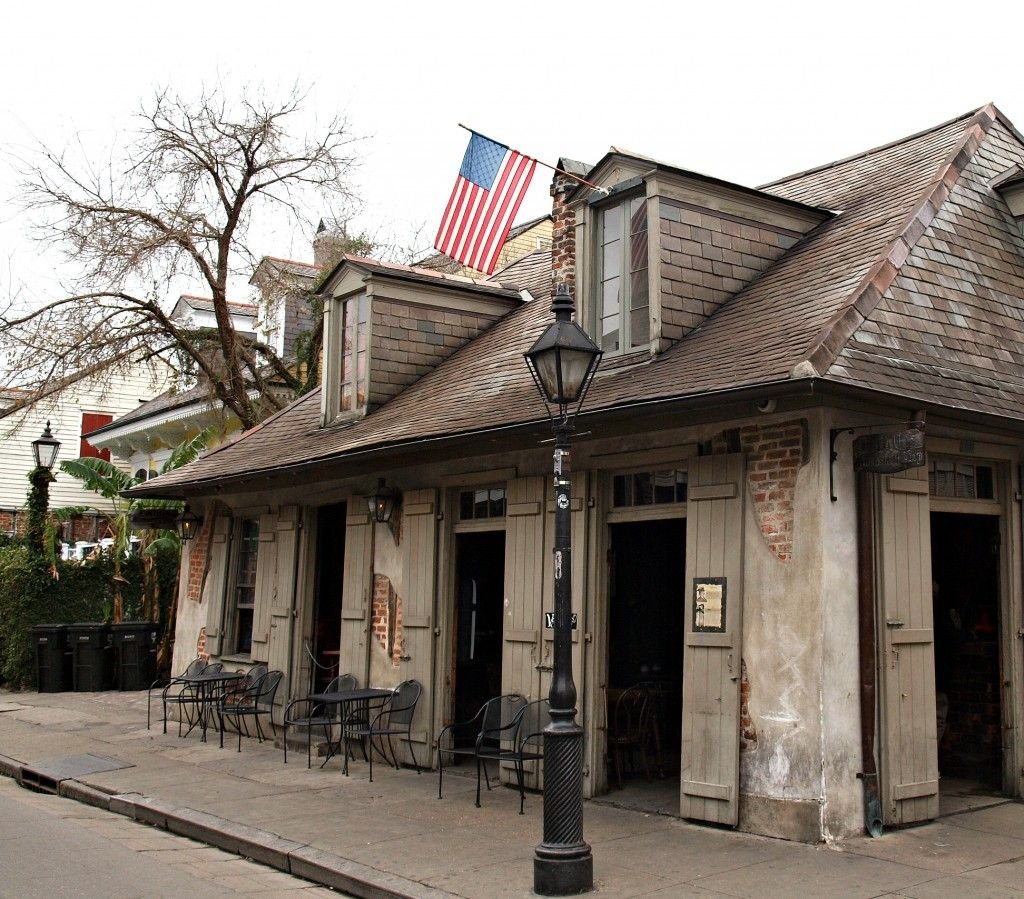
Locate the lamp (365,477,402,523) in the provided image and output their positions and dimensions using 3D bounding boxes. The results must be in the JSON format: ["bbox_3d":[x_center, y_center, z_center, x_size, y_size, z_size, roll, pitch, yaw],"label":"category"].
[{"bbox_3d":[-1.459,0.548,12.181,0.346,0.552,0.274,-4,-13,30],"label":"lamp"}]

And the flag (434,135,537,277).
[{"bbox_3d":[-0.334,-2.975,12.711,0.570,1.551,1.338,9,-13,-31],"label":"flag"}]
